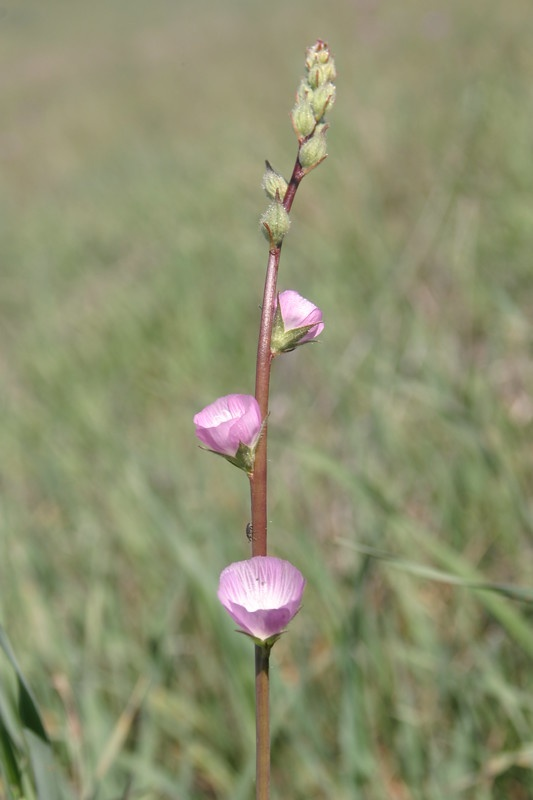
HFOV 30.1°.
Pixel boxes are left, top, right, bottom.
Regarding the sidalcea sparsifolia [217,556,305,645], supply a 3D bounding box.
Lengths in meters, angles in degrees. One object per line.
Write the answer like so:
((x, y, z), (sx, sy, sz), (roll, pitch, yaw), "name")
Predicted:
((-0.005, 0.149, 0.768), (0.071, 0.066, 0.059), (1, 87, -9), "sidalcea sparsifolia")
